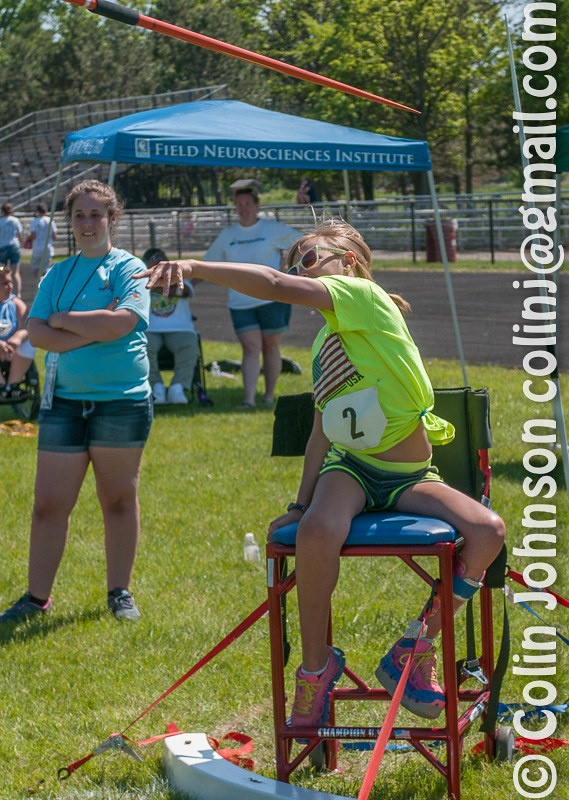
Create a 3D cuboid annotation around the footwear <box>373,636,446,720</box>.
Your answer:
[{"bbox_3d":[0.375,0.828,3.196,0.216,0.253,0.158,-1,7,9],"label":"footwear"}]

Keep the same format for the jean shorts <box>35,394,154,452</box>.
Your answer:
[{"bbox_3d":[-0.861,0.117,4.748,0.519,0.303,0.257,-1,-14,-2],"label":"jean shorts"}]

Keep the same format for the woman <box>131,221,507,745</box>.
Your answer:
[{"bbox_3d":[0.002,0.155,3.220,1.310,1.603,0.813,8,-18,-31],"label":"woman"}]

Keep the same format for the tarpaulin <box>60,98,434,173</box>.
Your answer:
[{"bbox_3d":[-0.439,-2.155,8.820,1.557,0.340,1.571,-2,5,-30],"label":"tarpaulin"}]

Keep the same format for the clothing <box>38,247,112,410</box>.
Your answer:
[{"bbox_3d":[-0.961,-0.309,4.782,0.258,0.724,0.039,12,-7,11],"label":"clothing"}]

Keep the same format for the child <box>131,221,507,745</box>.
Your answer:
[{"bbox_3d":[0.063,0.141,3.194,1.307,1.624,0.808,10,-19,-38],"label":"child"}]

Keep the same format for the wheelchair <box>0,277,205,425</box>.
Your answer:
[{"bbox_3d":[-1.671,-0.288,10.250,1.230,1.619,1.732,-2,-29,1],"label":"wheelchair"}]

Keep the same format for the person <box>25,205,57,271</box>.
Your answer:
[{"bbox_3d":[-4.255,-2.619,18.536,0.627,1.491,0.495,2,11,-11],"label":"person"}]

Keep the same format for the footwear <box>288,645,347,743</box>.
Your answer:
[{"bbox_3d":[0.093,0.860,3.196,0.124,0.294,0.163,9,-4,35],"label":"footwear"}]

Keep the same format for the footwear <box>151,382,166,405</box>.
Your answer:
[{"bbox_3d":[-1.176,-0.046,9.997,0.142,0.141,0.353,-1,9,-4],"label":"footwear"}]

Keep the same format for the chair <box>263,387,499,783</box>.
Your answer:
[{"bbox_3d":[0.351,0.613,3.480,0.729,1.219,0.993,-1,7,6],"label":"chair"}]

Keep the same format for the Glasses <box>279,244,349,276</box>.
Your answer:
[{"bbox_3d":[0.084,-0.453,3.435,0.143,0.042,0.139,-33,-18,31],"label":"Glasses"}]

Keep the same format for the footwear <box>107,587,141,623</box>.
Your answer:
[{"bbox_3d":[-0.735,0.921,4.811,0.080,0.081,0.202,-15,28,-30],"label":"footwear"}]

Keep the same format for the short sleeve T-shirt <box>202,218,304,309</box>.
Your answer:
[{"bbox_3d":[-0.257,-1.252,9.683,1.034,0.786,0.373,0,14,20],"label":"short sleeve T-shirt"}]

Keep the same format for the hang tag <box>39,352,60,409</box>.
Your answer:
[{"bbox_3d":[-1.027,-0.079,4.656,0.075,0.253,0.012,-3,17,-43],"label":"hang tag"}]

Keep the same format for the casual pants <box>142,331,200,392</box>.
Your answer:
[{"bbox_3d":[-1.027,-0.395,10.004,0.502,0.578,0.557,0,-5,-4],"label":"casual pants"}]
